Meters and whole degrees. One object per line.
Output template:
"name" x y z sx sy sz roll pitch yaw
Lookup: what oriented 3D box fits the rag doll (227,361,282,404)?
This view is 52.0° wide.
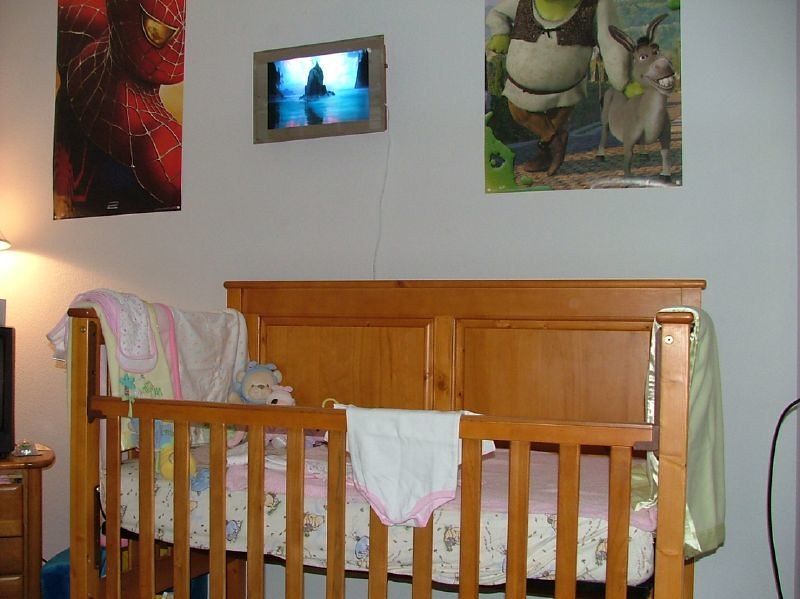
"rag doll" -0.588 0.381 3.376 0.225 0.245 0.137 4 2 -21

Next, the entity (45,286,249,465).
"entity" -0.966 0.274 2.949 0.212 0.574 0.526 -24 -8 19
